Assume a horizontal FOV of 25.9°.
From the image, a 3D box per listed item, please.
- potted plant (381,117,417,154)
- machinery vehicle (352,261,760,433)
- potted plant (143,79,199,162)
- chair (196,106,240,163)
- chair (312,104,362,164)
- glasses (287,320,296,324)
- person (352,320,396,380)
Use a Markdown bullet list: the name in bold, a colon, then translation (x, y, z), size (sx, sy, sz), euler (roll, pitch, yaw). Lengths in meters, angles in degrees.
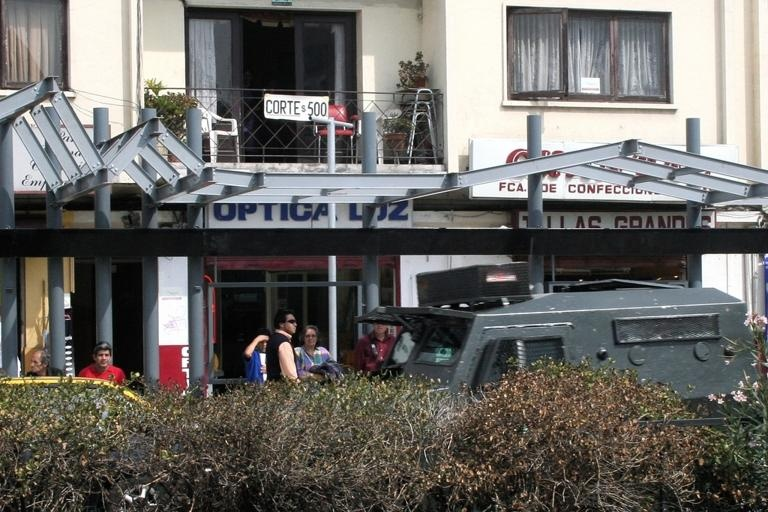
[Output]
- **potted plant**: translation (0.326, -2.191, 30.729), size (0.747, 0.700, 0.590), euler (0, -10, 6)
- **machinery vehicle**: translation (2.635, 1.114, 22.751), size (3.932, 1.571, 2.309), euler (-2, -1, -18)
- **potted plant**: translation (-3.802, -2.571, 29.818), size (0.814, 1.068, 0.552), euler (-1, 4, 0)
- **chair**: translation (-3.072, -2.175, 30.592), size (0.962, 1.238, 0.946), euler (-1, 4, -5)
- **chair**: translation (-0.857, -2.231, 30.649), size (0.847, 1.005, 0.718), euler (-1, 4, -8)
- **glasses**: translation (-1.323, 0.971, 24.508), size (0.063, 0.053, 0.082), euler (-9, -14, 38)
- **person**: translation (-0.100, 1.419, 24.649), size (0.731, 0.738, 0.419), euler (11, -19, -5)
